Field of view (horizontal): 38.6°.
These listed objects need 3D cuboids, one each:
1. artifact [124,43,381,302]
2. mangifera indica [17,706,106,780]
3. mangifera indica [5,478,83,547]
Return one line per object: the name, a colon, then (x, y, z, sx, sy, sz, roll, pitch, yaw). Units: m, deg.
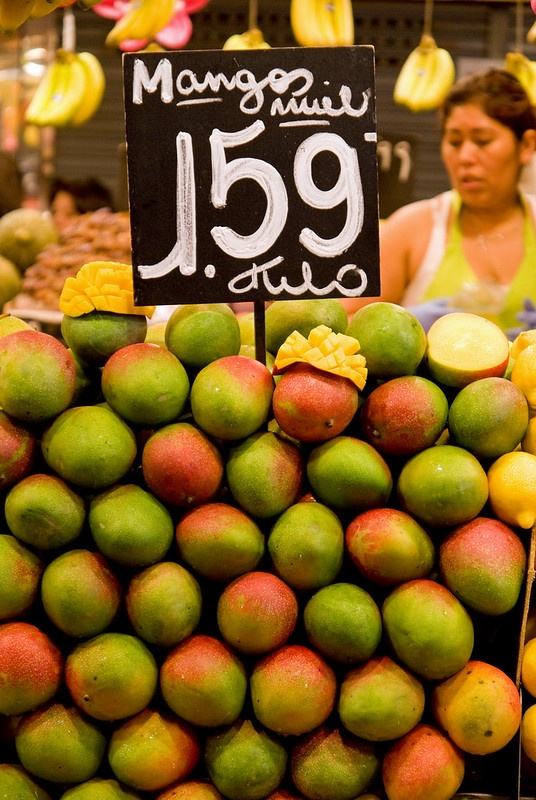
artifact: (-0.025, -0.359, 1.220, 0.392, 0.365, 0.184, -3, 24, -6)
mangifera indica: (-0.278, 0.488, 1.094, 0.084, 0.113, 0.087, -24, 25, 36)
mangifera indica: (-0.307, 0.158, 1.110, 0.082, 0.110, 0.085, -33, 67, -8)
